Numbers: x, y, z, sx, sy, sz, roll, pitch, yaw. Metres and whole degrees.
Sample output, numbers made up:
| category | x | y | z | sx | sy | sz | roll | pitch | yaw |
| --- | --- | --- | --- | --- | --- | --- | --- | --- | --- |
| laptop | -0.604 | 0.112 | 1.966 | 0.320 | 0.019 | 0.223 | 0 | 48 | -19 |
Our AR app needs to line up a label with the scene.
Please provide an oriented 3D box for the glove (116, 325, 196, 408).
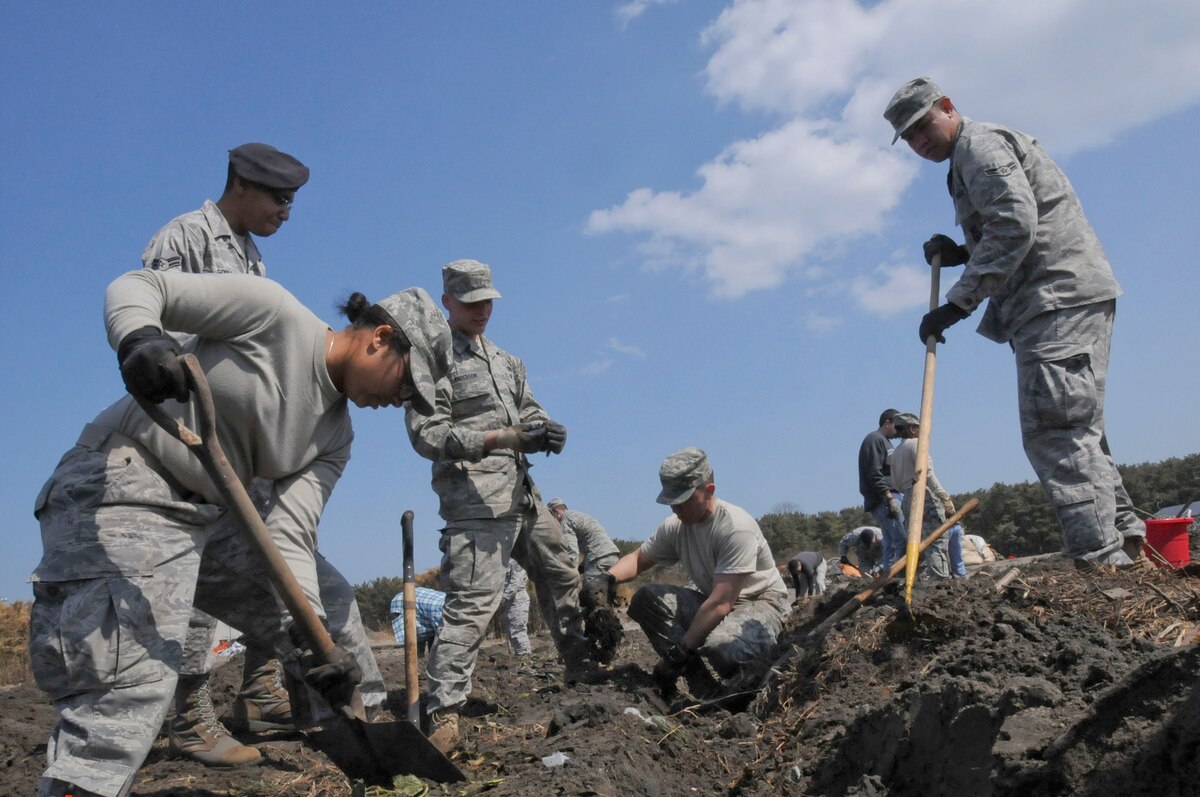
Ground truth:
| category | x | y | z | sx | sy | sz | roll | pitch | yaw |
| --- | --- | --- | --- | --- | --- | --- | --- | --- | --- |
| glove | -2.311 | -0.169 | 5.868 | 0.156 | 0.432 | 0.323 | -34 | -45 | -23 |

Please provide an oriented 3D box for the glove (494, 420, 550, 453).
| category | x | y | z | sx | sy | sz | roll | pitch | yaw |
| --- | --- | --- | --- | --- | --- | --- | --- | --- | --- |
| glove | -0.553 | 0.293 | 8.294 | 0.408 | 0.167 | 0.236 | -5 | -5 | 0 |

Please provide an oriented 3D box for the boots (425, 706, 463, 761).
| category | x | y | z | sx | sy | sz | roll | pitch | yaw |
| --- | --- | --- | --- | --- | --- | --- | --- | --- | --- |
| boots | -1.061 | 2.256 | 7.642 | 0.147 | 0.173 | 0.425 | -2 | -43 | 9 |

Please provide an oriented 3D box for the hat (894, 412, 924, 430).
| category | x | y | z | sx | sy | sz | roll | pitch | yaw |
| --- | --- | --- | --- | --- | --- | --- | --- | --- | --- |
| hat | 2.991 | 0.230 | 10.865 | 0.167 | 0.118 | 0.229 | 12 | -6 | 20 |

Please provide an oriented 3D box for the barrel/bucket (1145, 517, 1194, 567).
| category | x | y | z | sx | sy | sz | roll | pitch | yaw |
| --- | --- | --- | --- | --- | --- | --- | --- | --- | --- |
| barrel/bucket | 4.014 | 0.983 | 7.839 | 0.320 | 0.310 | 0.348 | 9 | 4 | -1 |

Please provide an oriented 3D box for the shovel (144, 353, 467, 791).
| category | x | y | z | sx | sy | sz | roll | pitch | yaw |
| --- | --- | --- | --- | --- | --- | --- | --- | --- | --- |
| shovel | -1.710 | 1.179 | 6.636 | 0.941 | 3.483 | 0.608 | -21 | 25 | 26 |

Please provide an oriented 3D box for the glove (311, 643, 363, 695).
| category | x | y | z | sx | sy | sz | roll | pitch | yaw |
| --- | --- | --- | --- | --- | --- | --- | --- | --- | --- |
| glove | -1.542 | 1.550 | 6.475 | 0.128 | 0.286 | 0.219 | -30 | -45 | -29 |
